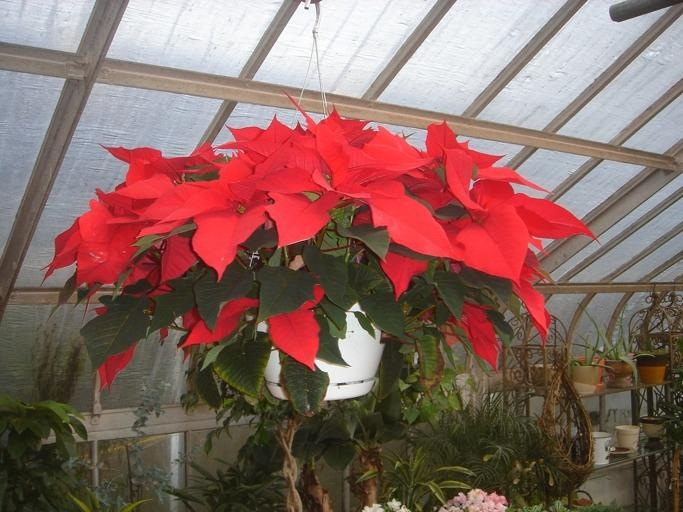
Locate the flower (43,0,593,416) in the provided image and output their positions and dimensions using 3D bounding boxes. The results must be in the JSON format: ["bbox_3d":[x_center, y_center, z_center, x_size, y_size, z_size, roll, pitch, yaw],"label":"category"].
[{"bbox_3d":[-0.117,-0.022,0.999,0.746,0.323,0.731,-4,5,-38],"label":"flower"}]

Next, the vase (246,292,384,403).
[{"bbox_3d":[-0.046,0.170,0.965,0.234,0.132,0.203,-2,-20,2],"label":"vase"}]
